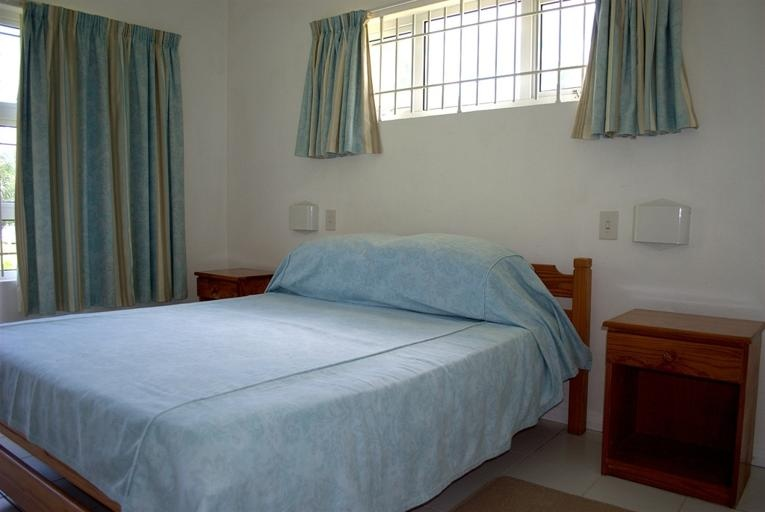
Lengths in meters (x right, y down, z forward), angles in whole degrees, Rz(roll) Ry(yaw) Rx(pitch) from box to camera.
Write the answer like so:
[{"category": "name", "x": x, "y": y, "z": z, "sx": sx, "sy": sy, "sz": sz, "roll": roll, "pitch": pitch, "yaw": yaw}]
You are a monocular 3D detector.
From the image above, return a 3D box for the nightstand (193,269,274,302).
[{"category": "nightstand", "x": -1.143, "y": 0.244, "z": 4.250, "sx": 0.452, "sy": 0.234, "sz": 0.358, "roll": 3, "pitch": 5, "yaw": 28}]

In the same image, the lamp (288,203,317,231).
[{"category": "lamp", "x": -0.608, "y": -0.308, "z": 4.278, "sx": 0.210, "sy": 0.228, "sz": 0.116, "roll": 1, "pitch": 1, "yaw": 33}]

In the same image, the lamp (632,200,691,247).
[{"category": "lamp", "x": 1.542, "y": -0.180, "z": 3.062, "sx": 0.242, "sy": 0.248, "sz": 0.262, "roll": 3, "pitch": 4, "yaw": 27}]
